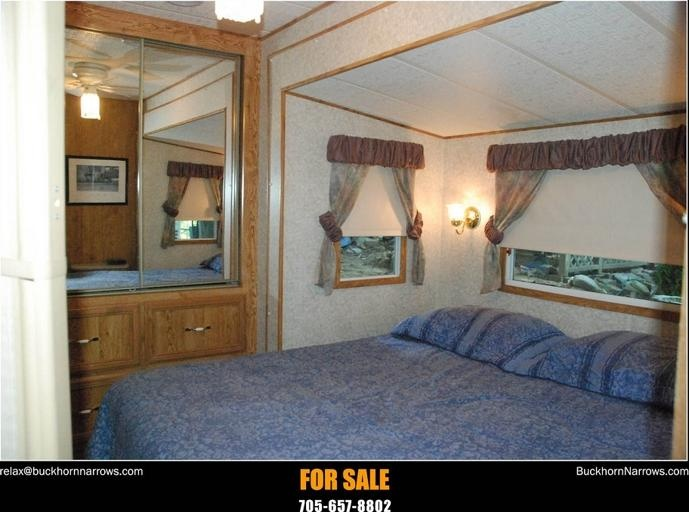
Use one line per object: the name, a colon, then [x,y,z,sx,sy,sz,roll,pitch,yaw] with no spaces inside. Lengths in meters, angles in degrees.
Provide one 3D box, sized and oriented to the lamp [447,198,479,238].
lamp: [1.008,-0.321,3.995,0.263,0.260,0.241,-1,4,-37]
